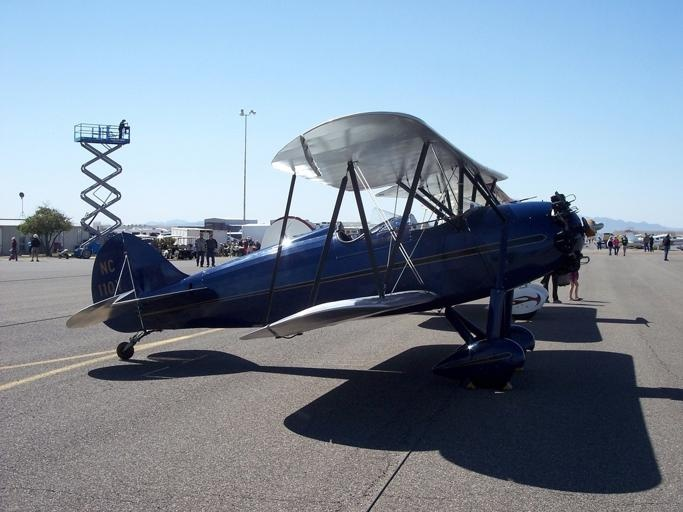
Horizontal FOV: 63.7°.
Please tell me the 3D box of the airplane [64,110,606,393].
[{"bbox_3d":[0.056,-0.002,6.754,4.307,1.563,4.857,-1,2,9],"label":"airplane"}]
